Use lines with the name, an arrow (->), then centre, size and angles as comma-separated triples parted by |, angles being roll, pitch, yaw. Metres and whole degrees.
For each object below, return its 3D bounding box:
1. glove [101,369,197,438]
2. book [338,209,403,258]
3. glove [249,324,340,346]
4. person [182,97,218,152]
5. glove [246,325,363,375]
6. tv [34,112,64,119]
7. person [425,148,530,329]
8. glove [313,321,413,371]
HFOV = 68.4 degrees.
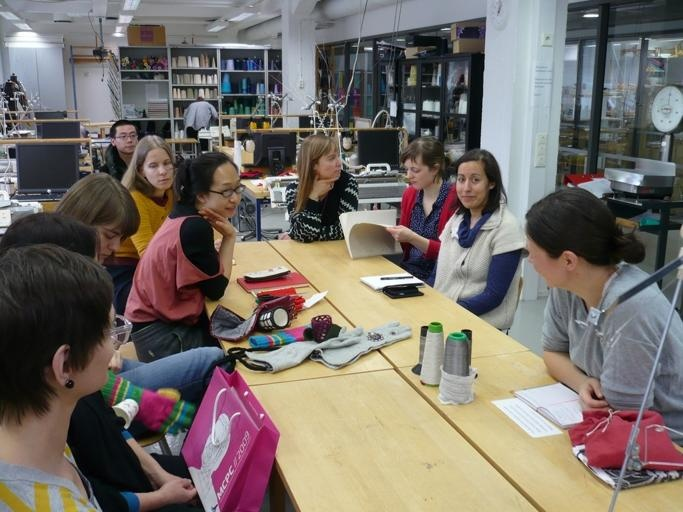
glove -> -0.674, 0.511, 1.730 | 0.480, 0.182, 0.166 | 12, 45, -27
book -> 0.182, -0.137, 3.156 | 0.317, 0.277, 0.315 | -7, 3, -26
glove -> -0.242, 0.337, 2.081 | 0.238, 0.043, 0.145 | -10, 17, -31
person -> -2.658, -2.374, 9.458 | 0.576, 1.472, 0.526 | -2, -22, -1
glove -> -0.136, 0.360, 1.968 | 0.427, 0.067, 0.163 | -11, 26, -36
tv -> -5.240, -2.536, 9.048 | 0.460, 0.118, 0.828 | -8, 17, -26
person -> 0.699, -0.071, 2.760 | 0.530, 1.006, 0.585 | 7, -8, -26
glove -> 0.080, 0.356, 2.019 | 0.293, 0.065, 0.166 | -16, 19, -36
